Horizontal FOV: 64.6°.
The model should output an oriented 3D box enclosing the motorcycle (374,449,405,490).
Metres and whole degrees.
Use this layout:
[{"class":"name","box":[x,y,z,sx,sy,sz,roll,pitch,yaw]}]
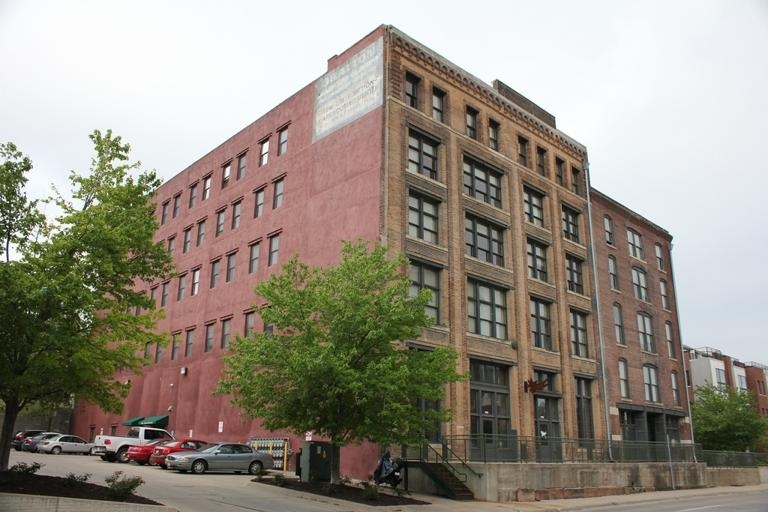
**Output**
[{"class":"motorcycle","box":[0.272,10.882,31.391,0.878,1.346,1.231,27,-34,-30]}]
